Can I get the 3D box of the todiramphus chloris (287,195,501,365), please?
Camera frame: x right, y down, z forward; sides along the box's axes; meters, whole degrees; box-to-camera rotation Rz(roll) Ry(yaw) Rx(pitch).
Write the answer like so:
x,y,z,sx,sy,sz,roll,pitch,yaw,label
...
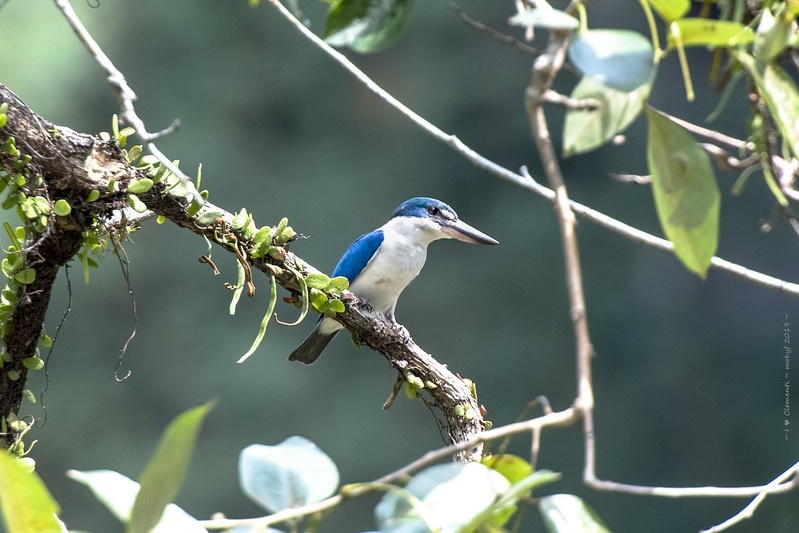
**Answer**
x,y,z,sx,sy,sz,roll,pitch,yaw,label
-0.011,0.078,4.071,0.955,0.323,0.543,-28,61,4,todiramphus chloris
